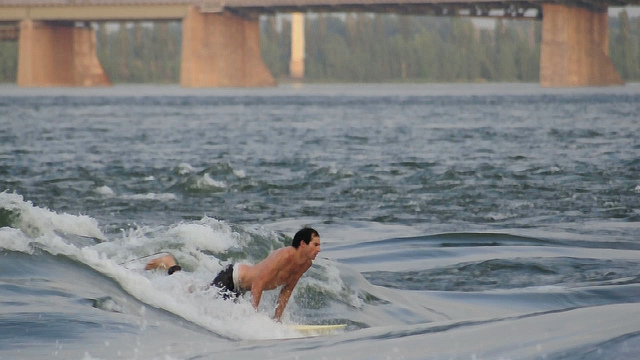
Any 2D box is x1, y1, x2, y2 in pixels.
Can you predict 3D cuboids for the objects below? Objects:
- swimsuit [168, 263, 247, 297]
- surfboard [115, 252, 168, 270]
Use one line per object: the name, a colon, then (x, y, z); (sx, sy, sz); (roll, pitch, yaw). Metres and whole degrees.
swimsuit: (-5.825, 5.203, 73.431); (1.867, 1.573, 3.231); (-2, 0, 12)
surfboard: (-9.478, 4.250, 73.380); (3.524, 0.796, 0.663); (-4, -13, -16)
